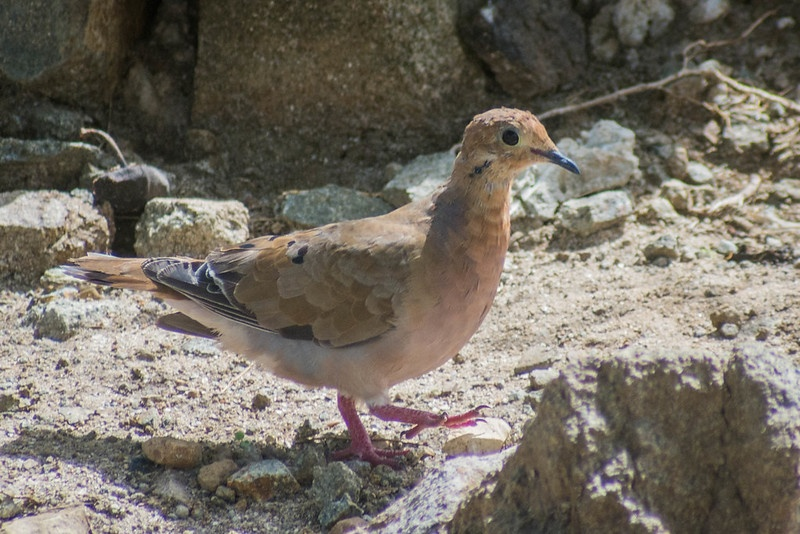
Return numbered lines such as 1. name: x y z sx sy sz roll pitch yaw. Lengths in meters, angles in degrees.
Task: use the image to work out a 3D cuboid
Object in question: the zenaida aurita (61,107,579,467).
1. zenaida aurita: -0.224 -0.255 12.818 4.762 3.324 1.633 4 10 7
